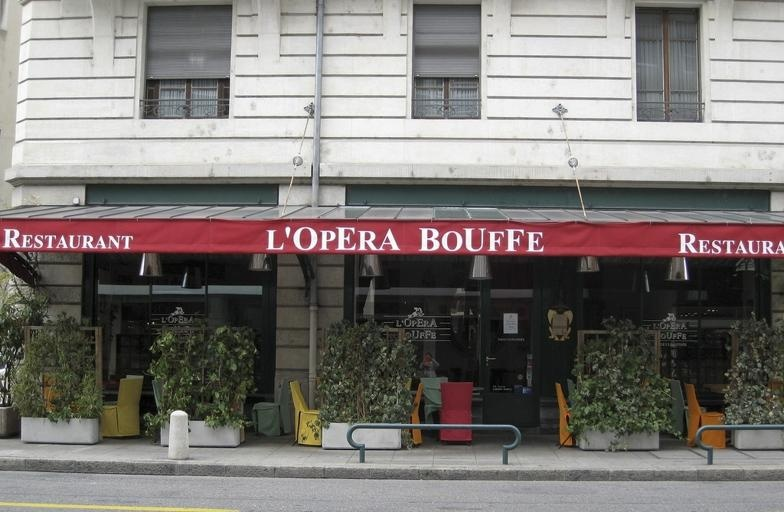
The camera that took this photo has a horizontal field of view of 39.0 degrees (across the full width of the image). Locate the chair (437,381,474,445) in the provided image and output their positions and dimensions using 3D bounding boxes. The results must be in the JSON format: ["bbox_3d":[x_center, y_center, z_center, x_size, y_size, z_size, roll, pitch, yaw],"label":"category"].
[{"bbox_3d":[1.511,3.666,25.796,0.747,1.410,0.467,0,-5,-3],"label":"chair"}]

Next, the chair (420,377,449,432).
[{"bbox_3d":[1.029,3.492,26.582,1.023,1.508,0.865,0,-3,3],"label":"chair"}]

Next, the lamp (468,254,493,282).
[{"bbox_3d":[2.154,0.248,26.757,0.469,0.531,0.525,-1,-5,1],"label":"lamp"}]

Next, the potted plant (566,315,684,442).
[{"bbox_3d":[5.326,2.877,25.502,2.401,2.423,1.919,5,18,-9],"label":"potted plant"}]

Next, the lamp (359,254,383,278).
[{"bbox_3d":[-0.481,0.238,26.925,0.529,0.527,0.526,1,-7,-26],"label":"lamp"}]

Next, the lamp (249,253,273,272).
[{"bbox_3d":[-3.147,0.164,26.839,0.425,0.381,0.420,1,-9,-7],"label":"lamp"}]

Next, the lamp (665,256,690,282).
[{"bbox_3d":[6.819,0.287,26.473,0.447,0.511,0.943,-2,-5,11],"label":"lamp"}]

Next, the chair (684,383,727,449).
[{"bbox_3d":[7.214,3.684,25.588,0.891,1.449,1.051,0,-5,-12],"label":"chair"}]

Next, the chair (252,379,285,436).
[{"bbox_3d":[-2.921,3.919,26.503,0.803,0.802,0.772,1,-5,6],"label":"chair"}]
